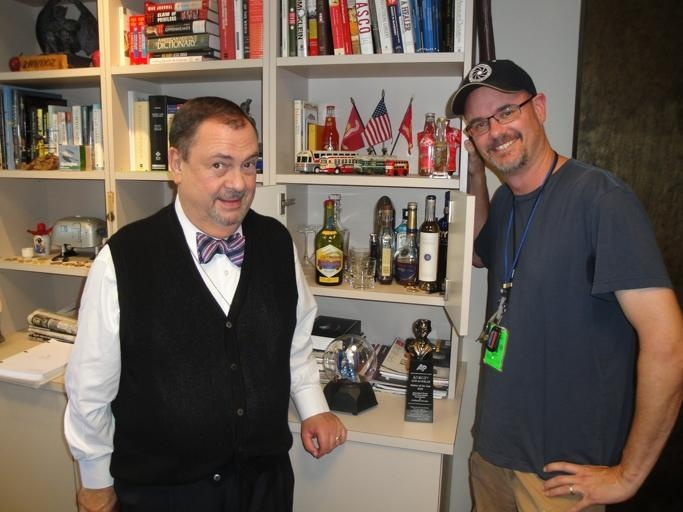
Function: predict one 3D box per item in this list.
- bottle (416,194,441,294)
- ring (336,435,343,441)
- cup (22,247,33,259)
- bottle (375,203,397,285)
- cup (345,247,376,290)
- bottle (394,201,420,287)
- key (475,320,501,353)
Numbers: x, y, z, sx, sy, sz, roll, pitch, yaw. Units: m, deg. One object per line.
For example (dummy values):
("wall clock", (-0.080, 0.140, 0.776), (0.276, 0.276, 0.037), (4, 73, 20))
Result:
("bottle", (0.372, -0.053, 2.452), (0.088, 0.406, 0.087), (0, 7, 0))
("ring", (-0.008, 0.691, 2.180), (0.017, 0.017, 0.022), (0, 0, 25))
("cup", (-1.649, -0.020, 3.000), (0.061, 0.053, 0.062), (1, 4, 0))
("bottle", (0.207, -0.063, 2.669), (0.085, 0.342, 0.241), (0, 8, 6))
("cup", (0.085, 0.049, 2.547), (0.139, 0.165, 0.169), (0, 8, 1))
("bottle", (0.291, -0.055, 2.543), (0.099, 0.362, 0.137), (0, 8, 6))
("key", (0.563, 0.298, 2.149), (0.036, 0.074, 0.101), (10, -13, -19))
